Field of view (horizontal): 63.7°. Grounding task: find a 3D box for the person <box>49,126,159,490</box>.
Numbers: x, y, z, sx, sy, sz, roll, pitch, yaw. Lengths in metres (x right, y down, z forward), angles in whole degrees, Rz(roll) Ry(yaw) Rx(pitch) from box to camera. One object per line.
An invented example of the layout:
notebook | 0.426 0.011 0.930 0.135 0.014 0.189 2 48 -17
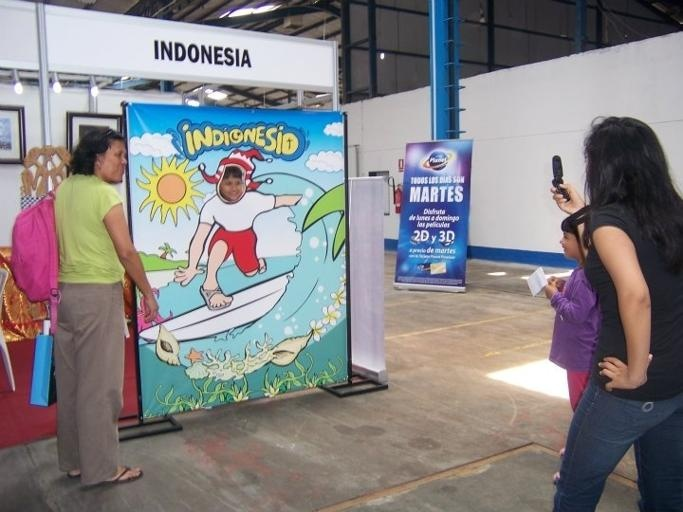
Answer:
person | -1.406 0.298 3.227 0.584 2.071 0.398 -4 8 -26

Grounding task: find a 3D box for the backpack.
backpack | -1.753 -0.032 3.132 0.241 0.600 0.282 -5 8 -32

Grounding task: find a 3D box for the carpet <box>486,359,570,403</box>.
carpet | 1.561 1.048 4.555 0.418 0.124 0.460 -5 6 -36

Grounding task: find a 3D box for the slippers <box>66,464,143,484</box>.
slippers | -1.414 1.236 3.272 0.397 0.103 0.162 1 7 -22
